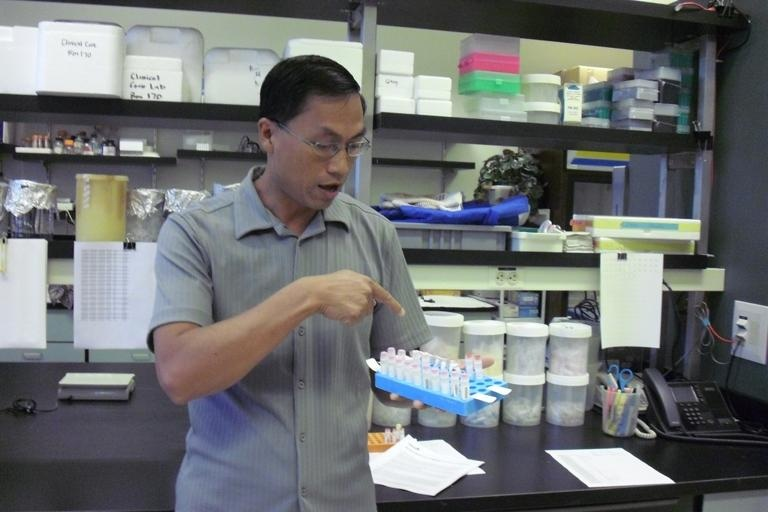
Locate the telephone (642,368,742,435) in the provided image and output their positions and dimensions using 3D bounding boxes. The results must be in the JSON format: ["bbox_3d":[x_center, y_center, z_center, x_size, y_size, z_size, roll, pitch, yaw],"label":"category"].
[{"bbox_3d":[1.400,0.667,3.043,0.351,0.158,0.451,0,9,-1],"label":"telephone"}]

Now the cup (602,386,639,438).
[{"bbox_3d":[1.033,0.685,2.918,0.178,0.197,0.194,0,0,0],"label":"cup"}]

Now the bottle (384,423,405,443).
[{"bbox_3d":[0.047,0.759,2.829,0.066,0.050,0.067,-1,-4,0],"label":"bottle"}]

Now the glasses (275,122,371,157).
[{"bbox_3d":[-0.196,-0.373,2.153,0.167,0.049,0.166,37,24,32],"label":"glasses"}]

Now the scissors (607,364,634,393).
[{"bbox_3d":[1.085,0.570,3.046,0.102,0.134,0.036,1,-5,-12],"label":"scissors"}]

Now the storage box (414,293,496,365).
[{"bbox_3d":[0.238,0.344,2.805,0.341,0.339,0.310,6,5,33],"label":"storage box"}]

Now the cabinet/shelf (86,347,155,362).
[{"bbox_3d":[-2.080,0.781,5.217,0.513,0.112,0.160,1,4,2],"label":"cabinet/shelf"}]
